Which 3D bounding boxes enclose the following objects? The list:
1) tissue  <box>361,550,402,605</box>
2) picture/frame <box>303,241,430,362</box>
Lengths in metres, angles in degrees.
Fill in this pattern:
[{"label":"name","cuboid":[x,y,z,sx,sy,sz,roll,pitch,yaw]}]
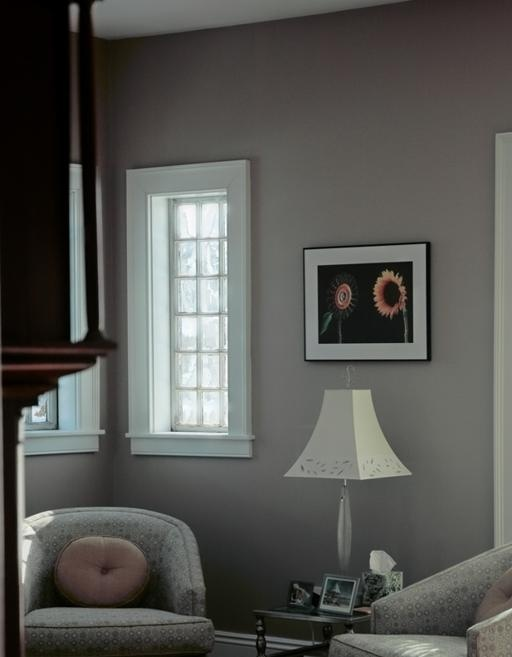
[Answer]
[{"label":"tissue ","cuboid":[0.545,1.071,2.634,0.148,0.216,0.154,0,-20,12]},{"label":"picture/frame","cuboid":[0.580,-0.132,3.073,0.567,0.531,0.025,-1,-3,19]}]
